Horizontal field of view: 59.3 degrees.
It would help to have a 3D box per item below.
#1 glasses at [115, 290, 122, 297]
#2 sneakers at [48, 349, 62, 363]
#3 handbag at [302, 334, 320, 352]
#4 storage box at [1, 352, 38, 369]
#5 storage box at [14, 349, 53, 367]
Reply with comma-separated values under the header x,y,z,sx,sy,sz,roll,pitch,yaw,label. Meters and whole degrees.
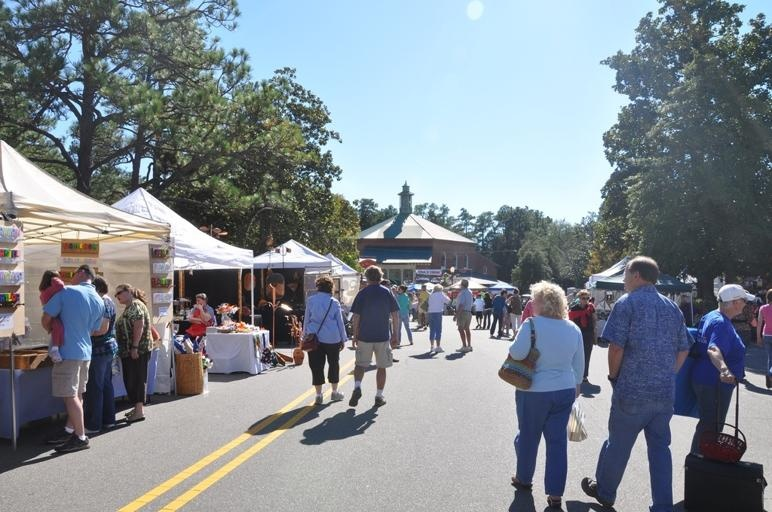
x,y,z,sx,sy,sz,roll,pitch,yaw,label
-5.086,0.711,12.891,0.114,0.129,0.037,-3,11,34,glasses
-5.422,1.630,11.109,0.221,0.235,0.170,-4,-3,30,sneakers
-1.543,1.648,13.416,0.447,0.449,0.250,2,3,44,handbag
-6.264,1.787,11.533,0.340,0.145,0.356,-5,-7,21,storage box
-6.083,1.779,11.615,0.245,0.127,0.537,2,0,-3,storage box
